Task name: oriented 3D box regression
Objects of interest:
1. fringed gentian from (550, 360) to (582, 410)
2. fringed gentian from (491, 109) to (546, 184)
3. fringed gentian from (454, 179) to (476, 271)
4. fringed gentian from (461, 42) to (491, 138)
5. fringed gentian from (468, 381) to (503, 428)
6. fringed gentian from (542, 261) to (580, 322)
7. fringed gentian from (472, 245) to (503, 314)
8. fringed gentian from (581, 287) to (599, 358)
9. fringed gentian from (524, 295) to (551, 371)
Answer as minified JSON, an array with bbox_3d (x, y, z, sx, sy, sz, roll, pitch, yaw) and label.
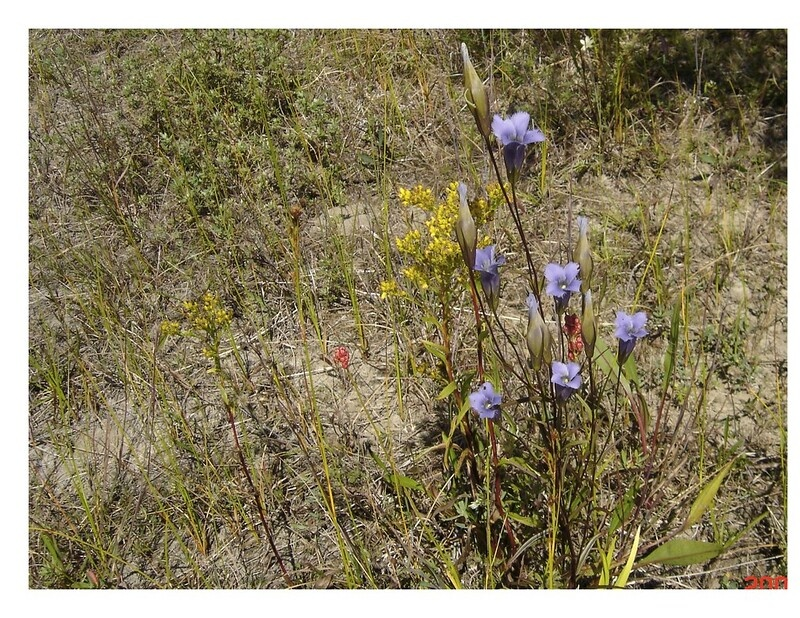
[{"bbox_3d":[0.690,0.304,2.875,0.127,0.167,0.117,-8,17,2],"label":"fringed gentian"},{"bbox_3d":[0.465,-0.606,2.833,0.128,0.230,0.208,5,-16,20],"label":"fringed gentian"},{"bbox_3d":[0.276,-0.347,2.905,0.086,0.372,0.204,-5,17,6],"label":"fringed gentian"},{"bbox_3d":[0.309,-0.860,2.747,0.090,0.393,0.098,-17,36,4],"label":"fringed gentian"},{"bbox_3d":[0.358,0.373,2.975,0.074,0.194,0.173,13,-29,-15],"label":"fringed gentian"},{"bbox_3d":[0.666,-0.036,2.870,0.117,0.156,0.202,0,42,22],"label":"fringed gentian"},{"bbox_3d":[0.388,-0.138,3.003,0.119,0.298,0.268,-5,18,10],"label":"fringed gentian"},{"bbox_3d":[0.785,0.076,2.908,0.058,0.296,0.166,-2,17,16],"label":"fringed gentian"},{"bbox_3d":[0.569,0.092,2.875,0.098,0.344,0.099,-5,16,6],"label":"fringed gentian"}]
